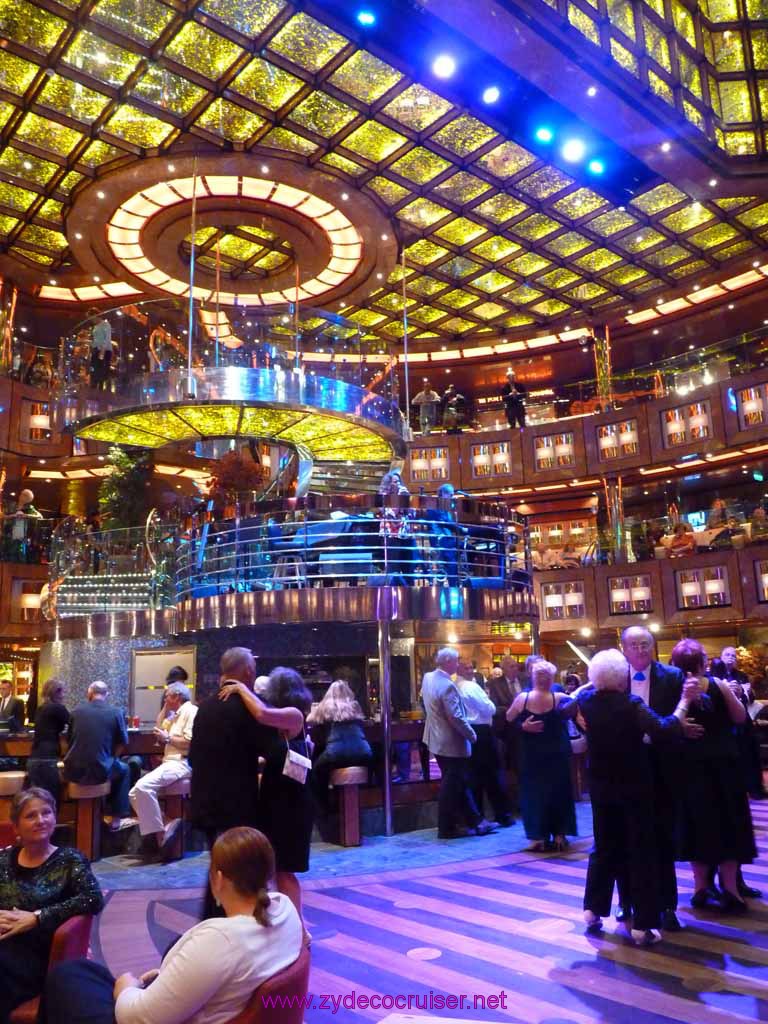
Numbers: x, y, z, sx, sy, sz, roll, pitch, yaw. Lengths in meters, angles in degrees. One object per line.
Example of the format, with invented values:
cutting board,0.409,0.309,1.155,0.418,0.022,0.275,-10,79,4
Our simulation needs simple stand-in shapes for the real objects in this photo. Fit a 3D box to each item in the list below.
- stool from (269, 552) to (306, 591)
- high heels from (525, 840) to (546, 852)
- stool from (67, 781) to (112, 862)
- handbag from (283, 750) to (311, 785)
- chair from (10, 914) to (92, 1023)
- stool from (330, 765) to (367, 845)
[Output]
stool,-1.165,0.728,9.472,0.370,0.457,0.140,1,-13,12
high heels,1.320,2.860,6.647,0.137,0.090,0.132,7,-16,-26
stool,-2.645,2.742,6.895,0.479,0.697,0.470,4,-16,-31
handbag,-0.437,1.261,3.816,0.135,0.186,0.249,0,-14,-6
chair,-1.151,1.564,2.641,0.223,0.275,0.448,2,-15,-14
stool,-0.326,2.763,7.320,0.323,0.721,0.743,-1,-14,-3
